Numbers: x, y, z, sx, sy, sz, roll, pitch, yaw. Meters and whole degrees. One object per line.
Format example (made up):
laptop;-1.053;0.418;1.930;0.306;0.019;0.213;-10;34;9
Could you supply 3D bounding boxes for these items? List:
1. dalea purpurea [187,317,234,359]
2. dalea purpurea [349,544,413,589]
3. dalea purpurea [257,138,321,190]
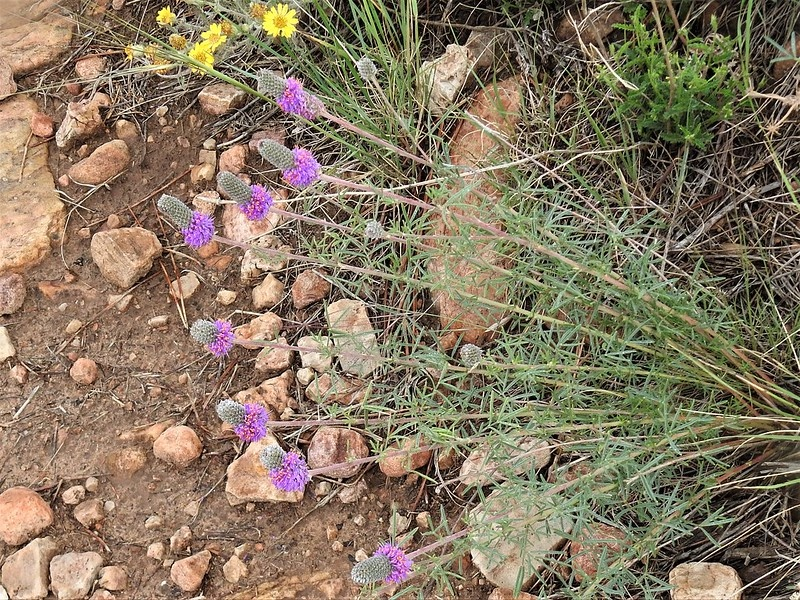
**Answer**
dalea purpurea;-0.891;0.163;3.231;0.218;0.161;0.171;5;59;5
dalea purpurea;-0.101;1.177;2.909;0.152;0.267;0.167;-25;72;33
dalea purpurea;-0.504;-0.644;3.066;0.171;0.302;0.200;-37;40;32
